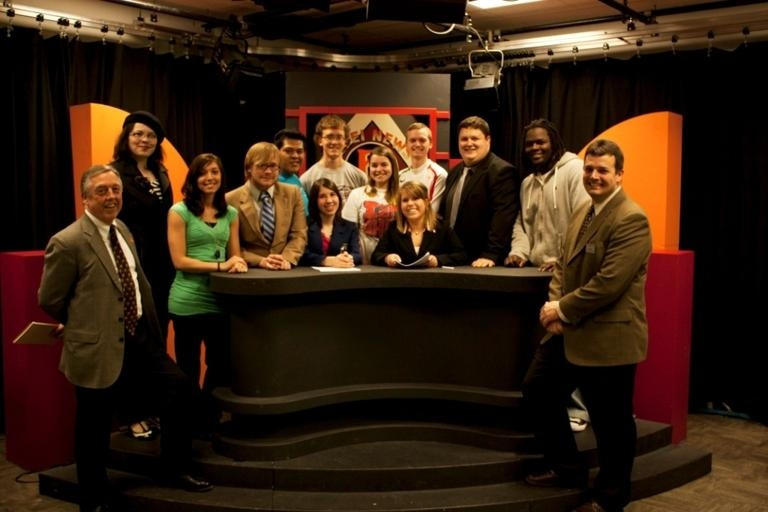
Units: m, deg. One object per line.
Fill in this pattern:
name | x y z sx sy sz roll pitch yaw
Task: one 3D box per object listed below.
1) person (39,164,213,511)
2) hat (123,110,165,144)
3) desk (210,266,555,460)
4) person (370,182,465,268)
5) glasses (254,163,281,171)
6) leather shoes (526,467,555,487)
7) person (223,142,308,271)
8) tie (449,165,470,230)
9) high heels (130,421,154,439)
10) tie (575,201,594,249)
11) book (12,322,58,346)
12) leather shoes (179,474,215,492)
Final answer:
person | -1.714 0.551 3.919 0.886 2.201 0.422 0 8 -27
hat | -1.839 -0.982 4.643 0.281 0.229 0.280 1 7 -21
desk | -0.038 0.664 4.335 2.223 1.234 0.461 3 7 -7
person | 0.241 -0.212 4.584 0.738 0.640 0.509 -2 4 8
glasses | -0.856 -0.651 4.436 0.158 0.053 0.030 1 7 -19
leather shoes | 1.069 1.519 4.181 0.225 0.085 0.087 3 -3 0
person | -0.893 -0.364 4.513 0.621 0.891 0.571 5 20 -3
tie | 0.602 -0.439 4.871 0.060 0.534 0.080 16 2 29
high heels | -1.783 1.279 4.486 0.175 0.061 0.100 26 8 34
tie | 1.338 -0.210 4.045 0.044 0.386 0.064 15 -30 35
book | -2.246 0.528 3.904 0.230 0.053 0.218 -16 -19 28
leather shoes | -1.253 1.501 4.054 0.203 0.071 0.096 0 0 4
